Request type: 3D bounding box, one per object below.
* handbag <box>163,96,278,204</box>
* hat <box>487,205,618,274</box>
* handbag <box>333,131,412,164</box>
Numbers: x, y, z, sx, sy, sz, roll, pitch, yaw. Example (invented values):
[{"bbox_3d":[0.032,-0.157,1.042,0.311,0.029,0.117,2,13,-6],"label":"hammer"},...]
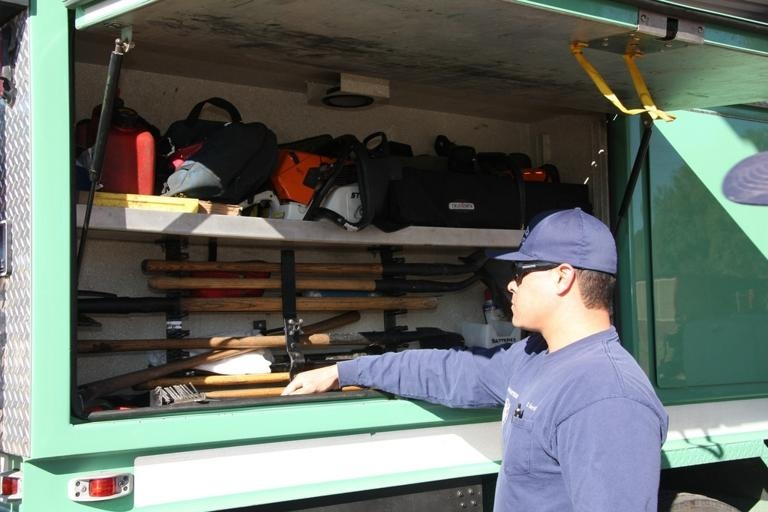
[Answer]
[{"bbox_3d":[-0.836,-0.627,3.488,0.535,0.353,0.293,1,10,-8],"label":"handbag"},{"bbox_3d":[0.583,-0.057,2.541,0.529,0.178,0.271,6,-12,5],"label":"hat"},{"bbox_3d":[-0.056,-0.616,3.751,0.452,0.118,0.218,-1,-1,3],"label":"handbag"}]
